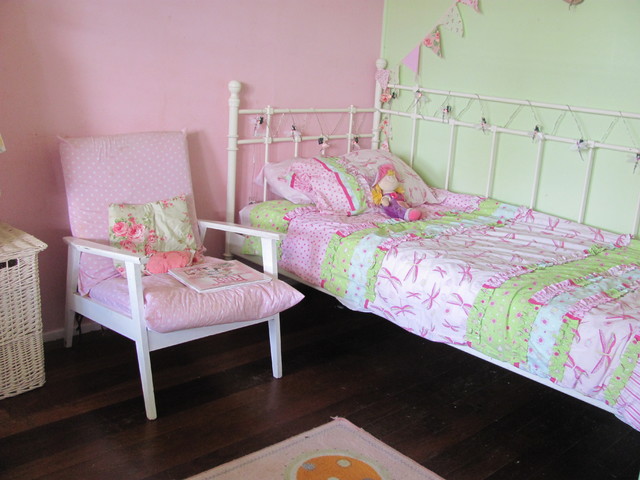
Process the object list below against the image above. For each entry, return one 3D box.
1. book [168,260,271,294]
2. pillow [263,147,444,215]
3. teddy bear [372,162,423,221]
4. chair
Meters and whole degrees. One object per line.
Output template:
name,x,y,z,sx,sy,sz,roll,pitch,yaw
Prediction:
book,-0.468,0.141,2.083,0.354,0.032,0.436,-13,21,-38
pillow,0.132,-0.419,3.068,1.261,0.324,1.036,1,-11,11
teddy bear,0.457,-0.277,2.741,0.361,0.329,0.226,13,19,41
chair,-0.661,0.055,2.156,1.095,0.944,0.822,16,21,29
